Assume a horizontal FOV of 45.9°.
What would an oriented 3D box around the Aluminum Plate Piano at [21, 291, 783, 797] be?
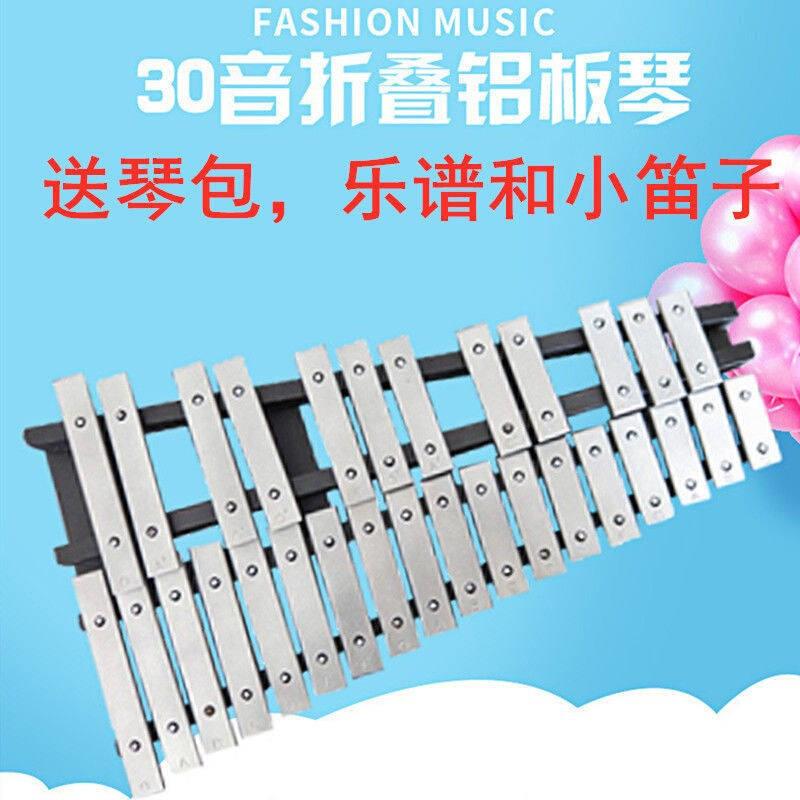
[{"bbox_3d":[0.064,0.172,2.088,1.597,0.987,0.404,-18,3,-5],"label":"Aluminum Plate Piano"}]
